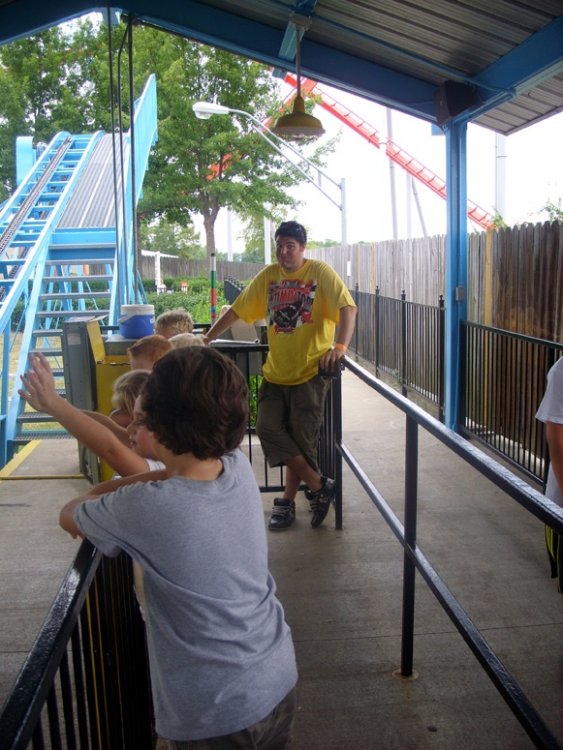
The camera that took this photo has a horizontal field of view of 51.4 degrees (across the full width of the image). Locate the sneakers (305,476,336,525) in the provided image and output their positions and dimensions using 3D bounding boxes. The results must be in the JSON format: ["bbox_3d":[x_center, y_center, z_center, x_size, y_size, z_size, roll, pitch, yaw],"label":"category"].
[{"bbox_3d":[0.226,0.876,4.073,0.113,0.339,0.212,20,-14,41],"label":"sneakers"}]
